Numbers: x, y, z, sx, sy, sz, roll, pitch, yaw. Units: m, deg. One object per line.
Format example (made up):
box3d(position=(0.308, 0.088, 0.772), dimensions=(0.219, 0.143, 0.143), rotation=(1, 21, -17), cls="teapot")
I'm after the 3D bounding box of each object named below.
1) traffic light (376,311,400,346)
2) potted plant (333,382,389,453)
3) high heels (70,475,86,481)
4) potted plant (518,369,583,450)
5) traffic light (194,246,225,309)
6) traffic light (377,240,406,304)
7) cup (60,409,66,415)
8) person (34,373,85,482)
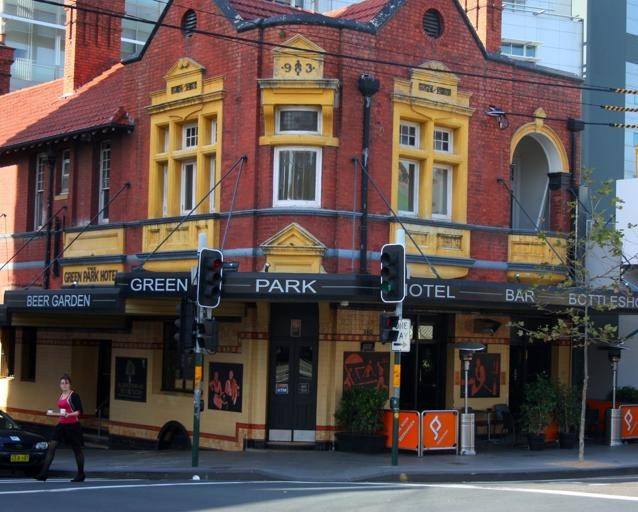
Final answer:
box3d(position=(1.770, 1.793, 32.722), dimensions=(0.460, 0.756, 0.429), rotation=(0, -8, 6), cls="traffic light")
box3d(position=(0.837, 4.455, 35.242), dimensions=(1.491, 1.616, 1.056), rotation=(7, -4, -18), cls="potted plant")
box3d(position=(-5.698, 5.270, 30.886), dimensions=(0.257, 0.109, 0.147), rotation=(2, -5, 7), cls="high heels")
box3d(position=(6.586, 4.435, 37.168), dimensions=(1.853, 2.051, 1.084), rotation=(8, -11, -44), cls="potted plant")
box3d(position=(-2.667, 0.528, 31.806), dimensions=(0.578, 1.481, 0.524), rotation=(1, -8, -7), cls="traffic light")
box3d(position=(1.851, 0.425, 32.532), dimensions=(0.606, 1.429, 0.373), rotation=(1, -8, -2), cls="traffic light")
box3d(position=(-6.023, 3.671, 30.715), dimensions=(0.118, 0.132, 0.116), rotation=(0, -10, 0), cls="cup")
box3d(position=(-6.010, 4.069, 30.898), dimensions=(0.955, 2.484, 0.748), rotation=(1, -8, -6), cls="person")
